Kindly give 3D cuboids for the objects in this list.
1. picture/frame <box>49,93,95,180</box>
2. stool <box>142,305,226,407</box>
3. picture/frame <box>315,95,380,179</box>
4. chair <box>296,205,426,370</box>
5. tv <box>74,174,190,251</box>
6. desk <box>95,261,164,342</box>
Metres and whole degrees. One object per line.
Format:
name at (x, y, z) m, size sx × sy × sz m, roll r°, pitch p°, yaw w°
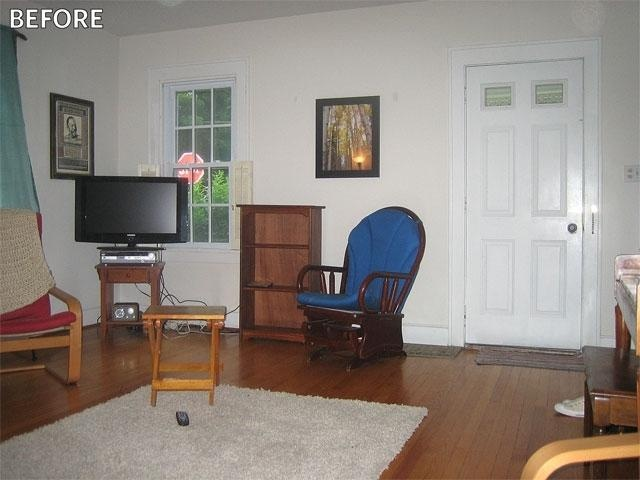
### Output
picture/frame at (-2.560, -1.052, 5.153) m, size 0.097 × 0.839 × 0.524 m, roll 3°, pitch 6°, yaw 25°
stool at (-0.910, 0.761, 3.378) m, size 0.556 × 0.570 × 0.425 m, roll 1°, pitch 3°, yaw -6°
picture/frame at (0.287, -1.010, 4.844) m, size 0.803 × 0.906 × 0.038 m, roll 0°, pitch -1°, yaw 16°
chair at (0.328, 0.374, 4.283) m, size 0.875 × 1.296 × 0.920 m, roll 0°, pitch 2°, yaw -33°
tv at (-1.899, -0.268, 5.034) m, size 1.052 × 0.747 × 0.278 m, roll -1°, pitch -10°, yaw -13°
desk at (-1.908, 0.576, 5.019) m, size 0.624 × 0.755 × 0.330 m, roll 1°, pitch 11°, yaw -15°
